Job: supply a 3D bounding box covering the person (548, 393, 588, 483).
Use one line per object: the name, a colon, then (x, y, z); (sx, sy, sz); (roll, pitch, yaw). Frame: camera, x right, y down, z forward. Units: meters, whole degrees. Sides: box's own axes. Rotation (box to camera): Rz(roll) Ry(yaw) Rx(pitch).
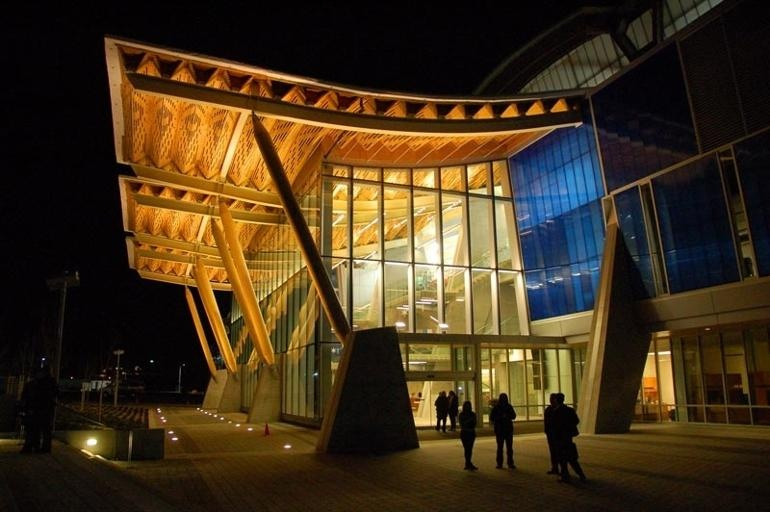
person: (5.118, 5.099, 15.945); (0.828, 2.316, 1.312); (-6, -17, 19)
